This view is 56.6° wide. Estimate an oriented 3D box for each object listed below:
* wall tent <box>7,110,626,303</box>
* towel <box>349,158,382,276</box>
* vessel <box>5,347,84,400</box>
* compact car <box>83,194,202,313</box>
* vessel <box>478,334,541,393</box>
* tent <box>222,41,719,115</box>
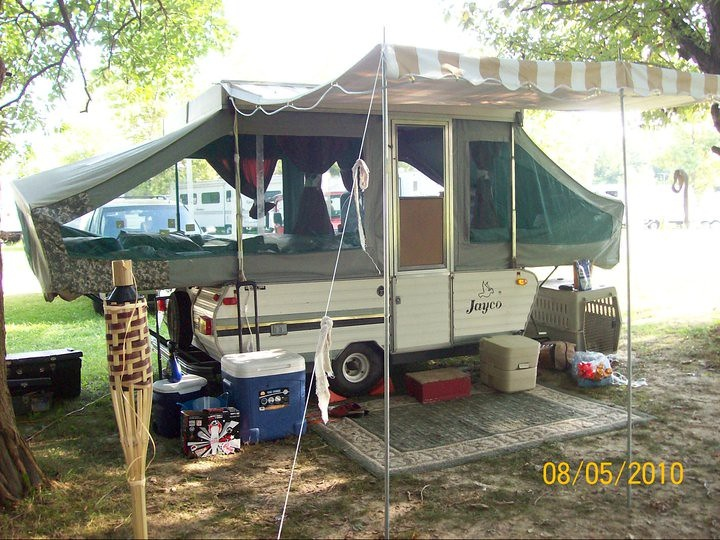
[{"bbox_3d":[-0.122,-0.801,7.425,6.568,1.904,0.656,-5,12,-22],"label":"wall tent"},{"bbox_3d":[0.044,-0.533,7.128,0.294,0.215,1.446,4,-36,13],"label":"towel"},{"bbox_3d":[-3.435,1.173,7.316,0.743,0.577,0.332,-7,13,-30],"label":"vessel"},{"bbox_3d":[-2.566,-0.289,8.216,1.132,1.129,1.891,-3,1,-35],"label":"compact car"},{"bbox_3d":[1.691,1.050,7.808,0.620,0.559,0.622,-3,6,-25],"label":"vessel"},{"bbox_3d":[1.205,-1.834,6.625,4.583,0.517,2.360,-4,12,-14],"label":"tent"}]
